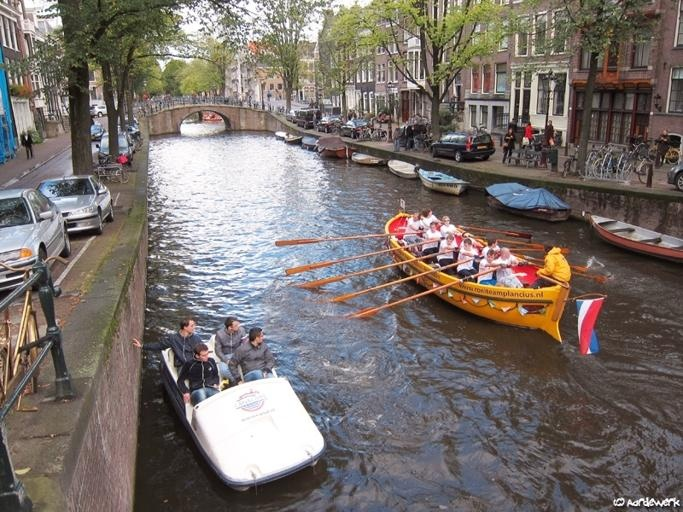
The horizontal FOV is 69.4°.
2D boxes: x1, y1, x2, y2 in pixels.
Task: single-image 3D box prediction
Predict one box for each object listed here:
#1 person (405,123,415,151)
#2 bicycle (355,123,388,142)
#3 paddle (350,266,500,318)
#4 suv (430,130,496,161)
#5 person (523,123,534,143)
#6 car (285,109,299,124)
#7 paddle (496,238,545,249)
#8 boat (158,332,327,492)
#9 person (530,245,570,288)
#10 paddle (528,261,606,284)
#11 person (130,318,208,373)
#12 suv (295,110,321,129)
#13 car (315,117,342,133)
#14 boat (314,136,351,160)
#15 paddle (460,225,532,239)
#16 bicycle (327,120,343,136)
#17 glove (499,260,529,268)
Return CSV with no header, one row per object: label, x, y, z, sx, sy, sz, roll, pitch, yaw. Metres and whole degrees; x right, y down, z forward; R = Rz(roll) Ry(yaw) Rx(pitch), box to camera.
person,5.043,-8.697,36.406,0.724,1.636,0.478,2,14,-14
bicycle,2.723,-11.127,44.799,3.117,1.465,1.410,19,34,39
paddle,2.526,1.069,14.408,3.549,0.372,0.276,-18,33,-16
suv,7.651,-6.922,31.204,1.582,1.823,3.758,-3,16,-30
person,11.375,-7.461,30.062,0.467,1.183,1.810,9,14,18
car,-6.295,-17.573,62.472,1.415,1.164,2.507,-4,30,-12
paddle,6.635,-0.493,18.431,1.517,0.450,0.078,10,29,15
boat,-1.346,2.834,8.204,1.814,1.025,1.539,-2,15,-28
person,5.574,0.360,12.902,0.751,1.102,0.998,-1,15,-24
paddle,6.568,0.483,14.440,1.831,0.564,0.210,13,-16,-14
person,-3.788,1.957,10.737,1.312,1.351,0.402,2,5,-21
suv,-3.710,-15.683,56.579,1.940,1.774,3.617,-13,21,-27
car,-1.377,-13.662,51.574,1.404,1.040,3.145,-4,21,-10
boat,-0.663,-9.235,42.027,1.476,1.833,3.407,-5,17,-35
paddle,6.166,-0.957,19.622,2.237,0.176,0.624,9,50,-5
bicycle,-0.648,-13.024,50.465,1.104,0.833,1.835,-7,33,-10
glove,4.764,0.166,13.824,0.422,0.280,0.778,-1,0,-7
